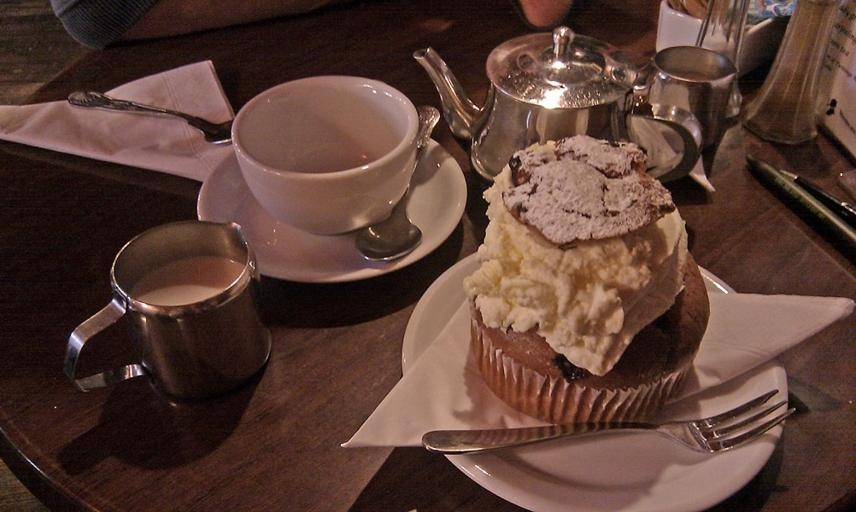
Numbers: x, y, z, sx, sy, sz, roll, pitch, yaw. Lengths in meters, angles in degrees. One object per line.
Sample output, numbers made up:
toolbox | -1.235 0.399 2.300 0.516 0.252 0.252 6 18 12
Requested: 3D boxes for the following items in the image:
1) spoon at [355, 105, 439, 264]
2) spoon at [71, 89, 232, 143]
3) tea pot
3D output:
spoon | -0.034 -0.140 1.316 0.105 0.049 0.383 9 57 20
spoon | -0.615 -0.301 1.468 0.308 0.031 0.069 14 46 -11
tea pot | 0.252 -0.285 1.354 0.491 0.258 0.324 26 57 20
